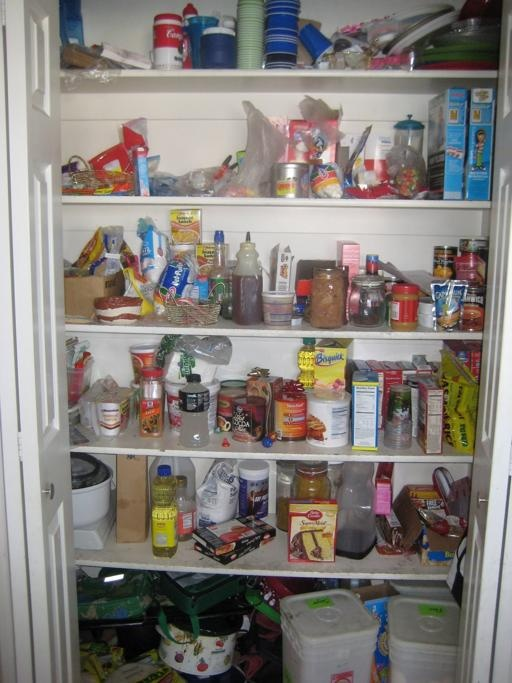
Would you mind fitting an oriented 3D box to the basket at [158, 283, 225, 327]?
[{"bbox_3d":[-0.180,-0.104,1.587,0.119,0.070,0.089,6,16,3],"label":"basket"}]

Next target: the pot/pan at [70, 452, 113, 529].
[{"bbox_3d":[-0.487,0.445,1.745,0.182,0.169,0.164,1,5,1],"label":"pot/pan"}]

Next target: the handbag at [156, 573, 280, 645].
[{"bbox_3d":[-0.127,0.766,1.733,0.226,0.066,0.225,4,5,-26],"label":"handbag"}]

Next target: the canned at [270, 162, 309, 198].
[{"bbox_3d":[0.094,-0.454,1.596,0.098,0.088,0.106,11,23,25],"label":"canned"}]

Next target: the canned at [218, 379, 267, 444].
[{"bbox_3d":[-0.044,0.212,1.772,0.104,0.118,0.193,-14,23,-37],"label":"canned"}]

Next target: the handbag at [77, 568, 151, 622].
[{"bbox_3d":[-0.430,0.771,1.757,0.154,0.048,0.117,1,14,-5],"label":"handbag"}]

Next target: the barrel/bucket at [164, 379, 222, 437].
[{"bbox_3d":[-0.201,0.185,1.786,0.158,0.126,0.168,2,16,-1],"label":"barrel/bucket"}]
